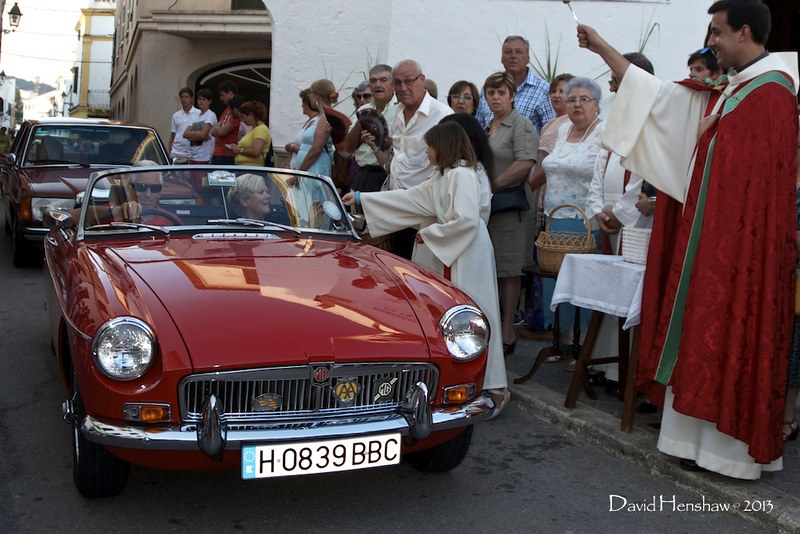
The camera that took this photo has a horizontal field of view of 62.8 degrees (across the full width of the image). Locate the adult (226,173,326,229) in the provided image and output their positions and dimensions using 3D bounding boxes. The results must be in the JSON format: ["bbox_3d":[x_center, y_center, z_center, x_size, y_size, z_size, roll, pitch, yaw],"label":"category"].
[{"bbox_3d":[-0.995,-0.502,4.831,0.724,0.432,0.548,0,18,-37],"label":"adult"}]

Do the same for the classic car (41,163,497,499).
[{"bbox_3d":[-0.822,0.073,3.786,1.638,1.098,2.904,1,7,-23],"label":"classic car"}]

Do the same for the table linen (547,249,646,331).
[{"bbox_3d":[1.459,0.161,4.996,0.913,0.411,0.939,12,0,44],"label":"table linen"}]

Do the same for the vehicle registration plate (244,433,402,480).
[{"bbox_3d":[-0.384,0.964,3.314,0.796,0.193,0.082,-6,-19,2],"label":"vehicle registration plate"}]

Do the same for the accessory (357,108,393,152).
[{"bbox_3d":[-0.250,-1.367,6.309,0.344,0.088,0.369,36,-27,11],"label":"accessory"}]

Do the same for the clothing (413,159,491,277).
[{"bbox_3d":[0.406,-0.372,4.995,0.417,0.609,0.783,16,4,-10],"label":"clothing"}]

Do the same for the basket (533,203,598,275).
[{"bbox_3d":[1.436,-0.249,5.420,0.640,0.666,0.475,1,5,18],"label":"basket"}]

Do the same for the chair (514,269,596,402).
[{"bbox_3d":[1.380,0.526,5.553,0.710,0.856,0.699,7,3,7],"label":"chair"}]

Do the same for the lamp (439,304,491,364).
[{"bbox_3d":[0.354,0.367,3.635,0.282,0.292,0.101,-6,-5,-25],"label":"lamp"}]

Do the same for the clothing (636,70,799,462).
[{"bbox_3d":[1.985,-0.051,3.955,0.842,2.244,0.617,8,13,21],"label":"clothing"}]

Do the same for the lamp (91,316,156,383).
[{"bbox_3d":[-1.362,0.384,3.132,0.275,0.285,0.066,4,-1,3],"label":"lamp"}]

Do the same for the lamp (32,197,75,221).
[{"bbox_3d":[-3.457,-0.617,6.556,0.414,0.164,0.456,4,11,7],"label":"lamp"}]
